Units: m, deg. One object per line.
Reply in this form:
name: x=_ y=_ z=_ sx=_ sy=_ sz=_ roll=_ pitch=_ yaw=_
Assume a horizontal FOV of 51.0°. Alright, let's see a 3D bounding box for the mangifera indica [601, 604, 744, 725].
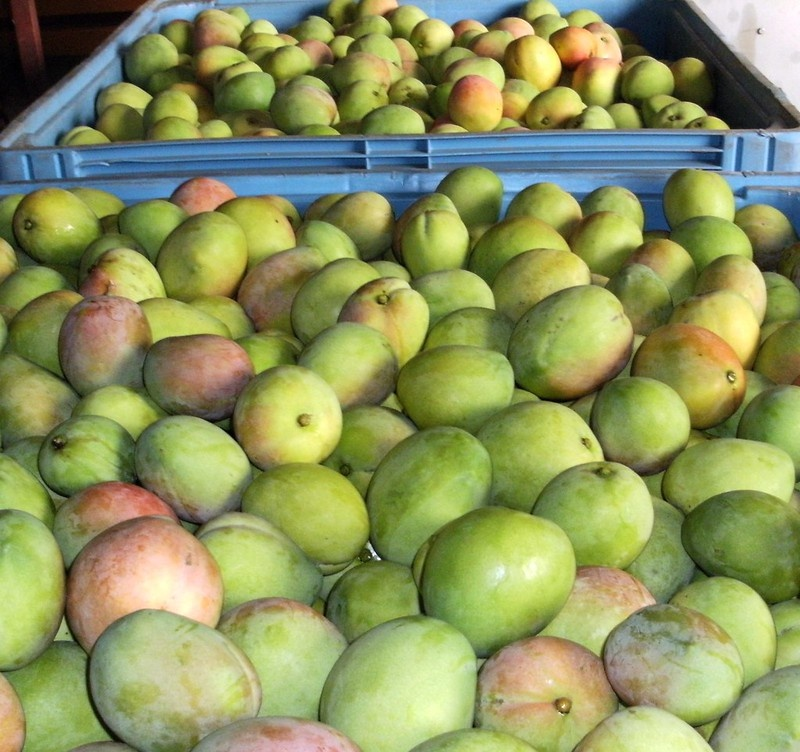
mangifera indica: x=0.399 y=0.418 z=1.279 sx=0.168 sy=0.134 sz=0.195 roll=7 pitch=17 yaw=-36
